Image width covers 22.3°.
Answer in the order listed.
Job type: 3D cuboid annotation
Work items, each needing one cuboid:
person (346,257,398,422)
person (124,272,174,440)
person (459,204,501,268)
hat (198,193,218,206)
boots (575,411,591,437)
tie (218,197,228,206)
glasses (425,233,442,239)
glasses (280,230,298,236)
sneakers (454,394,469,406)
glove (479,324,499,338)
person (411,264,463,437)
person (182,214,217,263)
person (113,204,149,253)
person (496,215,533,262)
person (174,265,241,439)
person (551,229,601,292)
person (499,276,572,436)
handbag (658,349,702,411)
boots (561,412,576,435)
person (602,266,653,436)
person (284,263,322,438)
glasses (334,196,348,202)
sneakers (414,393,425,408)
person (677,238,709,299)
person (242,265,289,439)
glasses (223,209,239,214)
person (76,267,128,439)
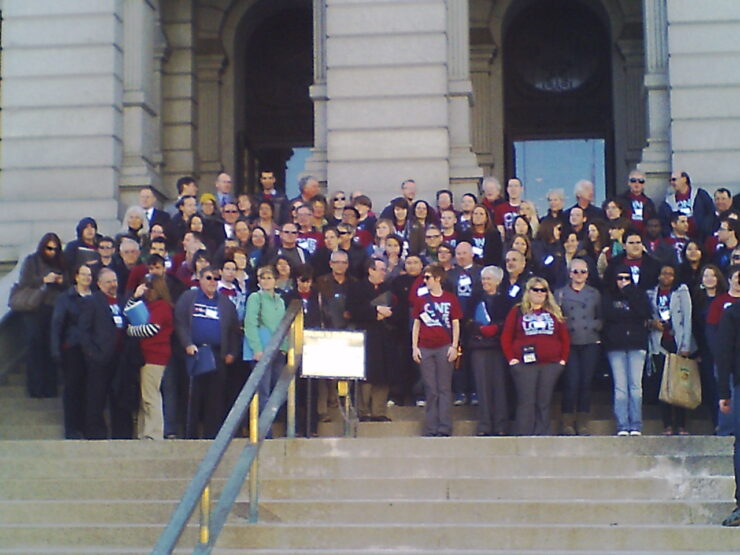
[{"bbox_3d":[0.039,0.820,24.675,0.653,2.097,0.419,0,-1,-1],"label":"person"},{"bbox_3d":[-2.858,1.027,24.377,0.547,2.114,0.557,0,-1,14],"label":"person"},{"bbox_3d":[1.504,-0.280,25.814,0.593,1.351,0.422,1,-14,1],"label":"person"},{"bbox_3d":[-2.372,-1.118,27.492,0.361,0.167,0.509,-1,9,-5],"label":"hat"},{"bbox_3d":[2.715,1.871,24.059,0.168,0.278,0.456,0,-1,6],"label":"boots"},{"bbox_3d":[-2.149,-1.094,27.501,0.121,0.109,0.121,-8,-25,30],"label":"tie"},{"bbox_3d":[0.875,-0.554,25.683,0.217,0.089,0.151,0,-1,-17],"label":"glasses"},{"bbox_3d":[-1.107,-0.590,25.624,0.197,0.070,0.166,0,-1,-3],"label":"glasses"},{"bbox_3d":[1.212,1.626,24.836,0.141,0.112,0.266,2,0,-5],"label":"sneakers"},{"bbox_3d":[1.523,0.698,24.218,0.197,0.187,0.155,1,4,3],"label":"glove"},{"bbox_3d":[0.827,0.933,24.174,0.600,2.168,0.464,0,-1,12],"label":"person"},{"bbox_3d":[-2.334,-0.492,25.762,0.533,0.721,0.391,-3,-26,-10],"label":"person"},{"bbox_3d":[-3.301,-0.674,26.594,0.630,0.780,0.532,2,-4,-3],"label":"person"},{"bbox_3d":[1.971,-0.488,25.598,0.540,0.800,0.428,4,-12,11],"label":"person"},{"bbox_3d":[-2.110,0.981,24.366,0.837,2.206,0.532,0,-1,-7],"label":"person"},{"bbox_3d":[2.710,-0.183,24.987,0.673,1.067,0.421,-5,-14,33],"label":"person"},{"bbox_3d":[2.100,1.010,23.995,0.848,1.983,0.319,0,-1,2],"label":"person"},{"bbox_3d":[3.941,1.324,23.992,0.588,0.677,0.262,17,-20,-7],"label":"handbag"},{"bbox_3d":[2.530,1.901,24.077,0.117,0.224,0.330,-1,-24,6],"label":"boots"},{"bbox_3d":[3.244,0.942,24.086,0.603,2.095,0.729,0,-1,14],"label":"person"},{"bbox_3d":[-0.820,0.954,24.372,0.482,2.178,1.141,0,-1,-8],"label":"person"},{"bbox_3d":[-0.424,-1.104,26.745,0.170,0.089,0.115,0,-1,-28],"label":"glasses"},{"bbox_3d":[0.653,1.647,24.990,0.154,0.185,0.112,3,12,9],"label":"sneakers"},{"bbox_3d":[4.318,0.045,24.941,0.395,1.071,0.360,2,-24,1],"label":"person"},{"bbox_3d":[-1.369,0.793,24.375,0.563,1.853,1.139,0,-1,-4],"label":"person"},{"bbox_3d":[-1.952,-0.918,26.589,0.226,0.075,0.200,0,-1,-26],"label":"glasses"},{"bbox_3d":[-3.455,0.985,24.337,0.615,2.164,0.586,0,-1,-22],"label":"person"}]
